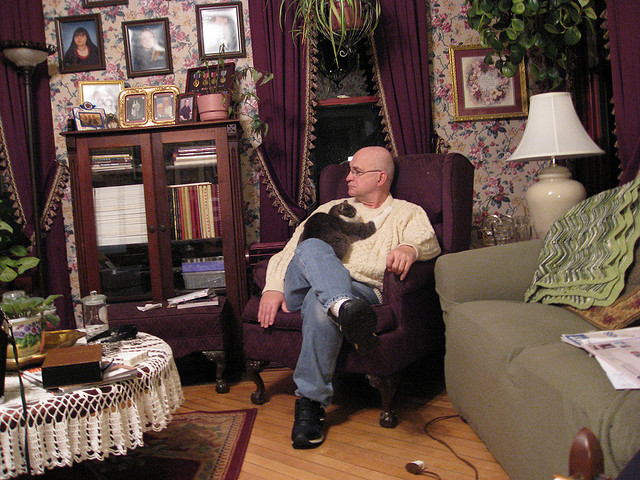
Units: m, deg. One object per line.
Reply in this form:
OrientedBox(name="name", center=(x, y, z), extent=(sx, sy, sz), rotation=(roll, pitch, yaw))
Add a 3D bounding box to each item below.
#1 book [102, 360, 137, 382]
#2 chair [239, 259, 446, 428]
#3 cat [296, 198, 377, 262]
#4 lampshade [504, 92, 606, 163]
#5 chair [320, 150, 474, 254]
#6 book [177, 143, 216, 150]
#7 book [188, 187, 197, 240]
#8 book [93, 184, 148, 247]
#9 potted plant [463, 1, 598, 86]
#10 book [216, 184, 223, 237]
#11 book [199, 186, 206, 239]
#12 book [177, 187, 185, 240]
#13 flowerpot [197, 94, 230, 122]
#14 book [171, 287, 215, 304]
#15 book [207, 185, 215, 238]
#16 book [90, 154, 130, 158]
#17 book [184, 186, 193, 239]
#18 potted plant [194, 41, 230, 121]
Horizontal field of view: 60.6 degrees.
OrientedBox(name="book", center=(-0.694, 0.460, 1.886), extent=(0.099, 0.027, 0.097), rotation=(0, 10, 17))
OrientedBox(name="chair", center=(0.093, 0.459, 2.874), extent=(0.826, 1.041, 0.843), rotation=(-3, -14, 25))
OrientedBox(name="cat", center=(0.108, -0.124, 3.006), extent=(0.280, 0.154, 0.387), rotation=(-32, 10, -13))
OrientedBox(name="lampshade", center=(1.223, -0.563, 2.844), extent=(0.462, 0.353, 0.489), rotation=(-5, 1, -11))
OrientedBox(name="chair", center=(0.493, -0.192, 3.005), extent=(0.631, 0.554, 0.385), rotation=(-2, 4, 31))
OrientedBox(name="book", center=(-0.746, -0.564, 3.291), extent=(0.167, 0.030, 0.020), rotation=(-2, -37, 3))
OrientedBox(name="book", center=(-0.768, -0.177, 3.313), extent=(0.050, 0.229, 0.216), rotation=(-1, -3, -8))
OrientedBox(name="book", center=(-1.218, -0.149, 3.321), extent=(0.351, 0.425, 0.035), rotation=(-2, 6, -4))
OrientedBox(name="potted plant", center=(1.231, -1.116, 3.167), extent=(0.642, 0.461, 0.881), rotation=(2, 11, 27))
OrientedBox(name="book", center=(-0.606, -0.166, 3.320), extent=(0.050, 0.229, 0.224), rotation=(1, -2, -14))
OrientedBox(name="book", center=(-0.708, -0.167, 3.326), extent=(0.023, 0.312, 0.052), rotation=(-4, 10, -9))
OrientedBox(name="book", center=(-0.840, -0.162, 3.336), extent=(0.023, 0.310, 0.055), rotation=(-5, 10, -15))
OrientedBox(name="flowerpot", center=(-0.643, -0.800, 3.325), extent=(0.164, 0.118, 0.180), rotation=(-1, -6, -13))
OrientedBox(name="book", center=(-0.721, 0.321, 3.133), extent=(0.268, 0.032, 0.160), rotation=(-10, 0, 9))
OrientedBox(name="book", center=(-0.659, -0.173, 3.325), extent=(0.029, 0.315, 0.060), rotation=(-5, 10, -12))
OrientedBox(name="book", center=(-1.259, -0.506, 3.298), extent=(0.221, 0.018, 0.034), rotation=(-2, 10, 4))
OrientedBox(name="book", center=(-0.789, -0.168, 3.309), extent=(0.053, 0.231, 0.219), rotation=(-1, -1, -9))
OrientedBox(name="potted plant", center=(-0.672, -1.005, 3.442), extent=(0.218, 0.505, 0.389), rotation=(-4, 10, -10))
